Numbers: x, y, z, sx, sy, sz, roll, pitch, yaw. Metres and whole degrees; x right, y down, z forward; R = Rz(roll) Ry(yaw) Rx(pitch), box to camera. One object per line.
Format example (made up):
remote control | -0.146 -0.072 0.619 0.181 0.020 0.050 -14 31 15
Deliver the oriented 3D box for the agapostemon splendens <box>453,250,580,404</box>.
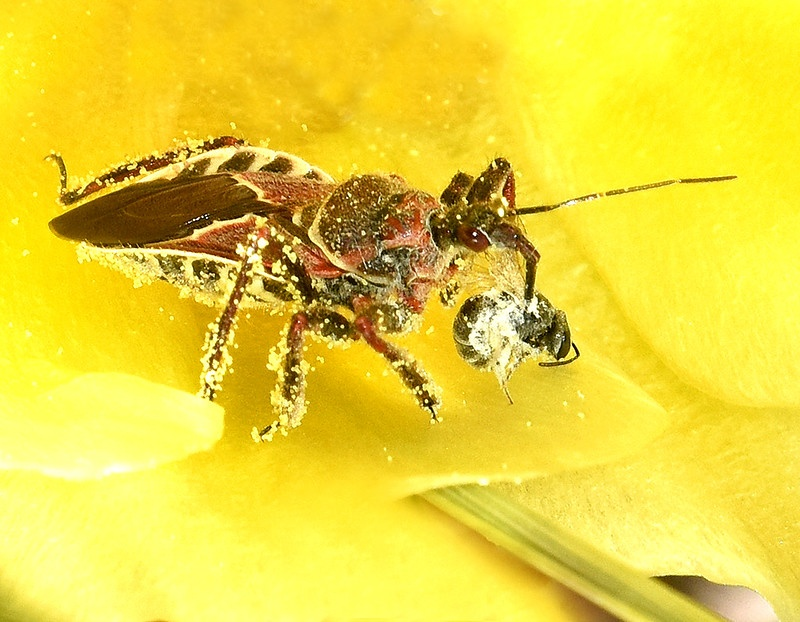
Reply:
agapostemon splendens | 0.135 0.013 1.072 0.137 0.080 0.189 -11 79 -29
